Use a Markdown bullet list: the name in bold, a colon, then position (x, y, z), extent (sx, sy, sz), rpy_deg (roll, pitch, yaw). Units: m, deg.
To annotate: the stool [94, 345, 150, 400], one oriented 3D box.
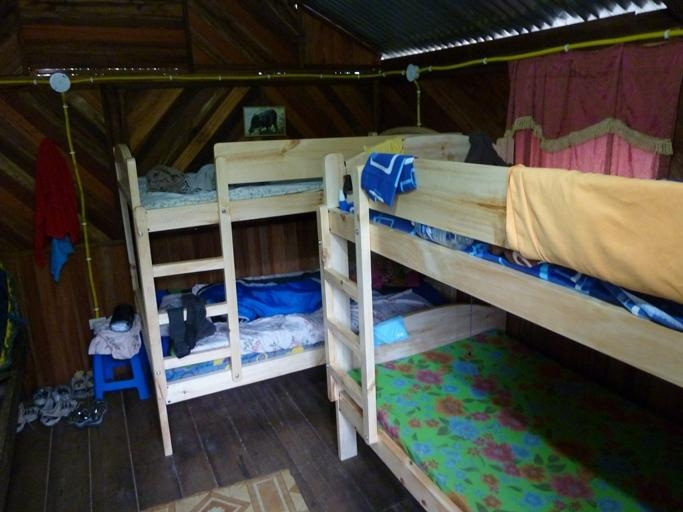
- **stool**: position (-1.950, 1.028, 4.641), extent (0.456, 0.494, 0.477), rpy_deg (-2, 5, -16)
